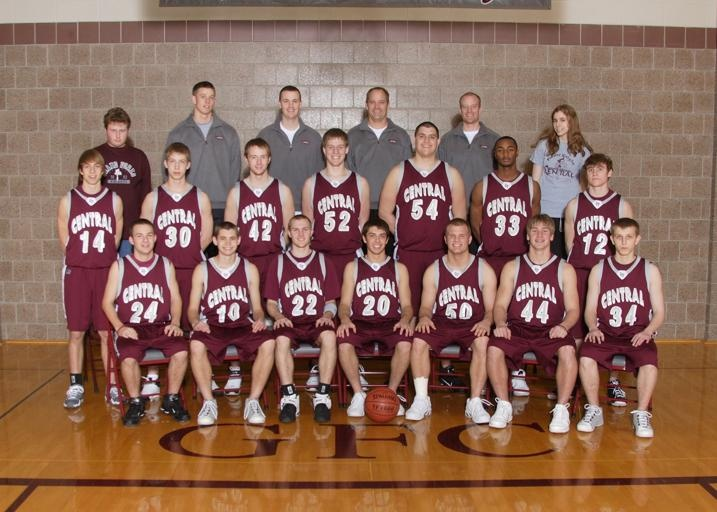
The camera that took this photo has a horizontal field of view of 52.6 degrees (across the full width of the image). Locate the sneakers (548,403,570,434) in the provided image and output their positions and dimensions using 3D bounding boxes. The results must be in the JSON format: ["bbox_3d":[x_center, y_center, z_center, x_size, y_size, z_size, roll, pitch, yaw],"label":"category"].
[{"bbox_3d":[1.661,1.309,5.939,0.158,0.212,0.301,4,7,18],"label":"sneakers"}]

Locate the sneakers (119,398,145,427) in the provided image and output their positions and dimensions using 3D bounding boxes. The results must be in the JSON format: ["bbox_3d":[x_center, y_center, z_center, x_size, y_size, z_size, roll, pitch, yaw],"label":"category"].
[{"bbox_3d":[-1.842,1.276,6.051,0.138,0.216,0.277,3,7,16],"label":"sneakers"}]

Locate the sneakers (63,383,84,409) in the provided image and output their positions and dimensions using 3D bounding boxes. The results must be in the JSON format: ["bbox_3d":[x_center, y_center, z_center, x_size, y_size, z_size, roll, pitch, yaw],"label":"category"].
[{"bbox_3d":[-2.494,1.242,6.383,0.100,0.121,0.287,0,-3,-10],"label":"sneakers"}]

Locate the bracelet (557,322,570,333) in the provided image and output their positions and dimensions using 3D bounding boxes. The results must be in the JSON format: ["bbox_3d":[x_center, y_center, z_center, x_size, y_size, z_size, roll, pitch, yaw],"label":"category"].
[{"bbox_3d":[1.718,0.604,6.048,0.072,0.056,0.093,4,7,19],"label":"bracelet"}]

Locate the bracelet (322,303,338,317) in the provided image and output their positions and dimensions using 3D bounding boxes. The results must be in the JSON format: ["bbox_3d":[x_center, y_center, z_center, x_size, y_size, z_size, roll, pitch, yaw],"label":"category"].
[{"bbox_3d":[-0.232,0.473,6.388,0.107,0.097,0.125,-3,2,-4],"label":"bracelet"}]

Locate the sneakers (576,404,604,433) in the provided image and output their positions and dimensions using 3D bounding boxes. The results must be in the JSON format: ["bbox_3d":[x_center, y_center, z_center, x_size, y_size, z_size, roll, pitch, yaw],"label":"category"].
[{"bbox_3d":[1.912,1.320,5.945,0.173,0.194,0.312,5,7,25],"label":"sneakers"}]

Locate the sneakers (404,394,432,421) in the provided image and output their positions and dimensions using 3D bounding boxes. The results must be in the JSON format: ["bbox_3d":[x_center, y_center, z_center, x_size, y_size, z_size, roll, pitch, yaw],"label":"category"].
[{"bbox_3d":[0.532,1.272,6.122,0.128,0.185,0.332,7,9,42],"label":"sneakers"}]

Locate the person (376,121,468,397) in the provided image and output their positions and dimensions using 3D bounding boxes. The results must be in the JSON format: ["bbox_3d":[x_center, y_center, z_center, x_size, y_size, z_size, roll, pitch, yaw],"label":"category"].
[{"bbox_3d":[0.603,0.033,6.917,0.904,2.494,0.792,2,8,6],"label":"person"}]

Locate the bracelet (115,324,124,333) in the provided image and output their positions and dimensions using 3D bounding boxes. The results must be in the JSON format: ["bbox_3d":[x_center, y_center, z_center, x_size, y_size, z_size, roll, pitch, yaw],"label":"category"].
[{"bbox_3d":[-1.997,0.607,6.090,0.065,0.049,0.059,2,-8,-1],"label":"bracelet"}]

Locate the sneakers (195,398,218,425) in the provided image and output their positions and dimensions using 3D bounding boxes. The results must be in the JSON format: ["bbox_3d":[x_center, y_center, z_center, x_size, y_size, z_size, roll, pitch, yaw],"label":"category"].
[{"bbox_3d":[-1.245,1.295,6.031,0.165,0.190,0.197,0,7,-11],"label":"sneakers"}]

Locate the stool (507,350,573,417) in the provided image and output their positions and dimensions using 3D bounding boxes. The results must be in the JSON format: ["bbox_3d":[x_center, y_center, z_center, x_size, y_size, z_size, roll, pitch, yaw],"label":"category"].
[{"bbox_3d":[1.549,1.055,6.400,0.587,0.669,0.736,-1,-12,10],"label":"stool"}]

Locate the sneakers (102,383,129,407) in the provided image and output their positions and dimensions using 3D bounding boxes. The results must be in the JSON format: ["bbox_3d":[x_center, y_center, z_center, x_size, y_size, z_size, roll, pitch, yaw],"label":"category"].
[{"bbox_3d":[-2.122,1.222,6.332,0.151,0.167,0.432,3,-10,-21],"label":"sneakers"}]

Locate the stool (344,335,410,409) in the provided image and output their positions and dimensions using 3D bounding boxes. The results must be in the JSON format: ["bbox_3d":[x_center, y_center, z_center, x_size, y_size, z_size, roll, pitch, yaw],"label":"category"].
[{"bbox_3d":[0.151,0.964,6.146,0.455,0.541,0.516,1,-27,3],"label":"stool"}]

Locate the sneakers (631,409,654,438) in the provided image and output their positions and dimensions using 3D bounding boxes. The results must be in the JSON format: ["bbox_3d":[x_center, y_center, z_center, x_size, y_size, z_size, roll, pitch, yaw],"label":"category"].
[{"bbox_3d":[2.298,1.345,5.826,0.163,0.184,0.187,4,7,20],"label":"sneakers"}]

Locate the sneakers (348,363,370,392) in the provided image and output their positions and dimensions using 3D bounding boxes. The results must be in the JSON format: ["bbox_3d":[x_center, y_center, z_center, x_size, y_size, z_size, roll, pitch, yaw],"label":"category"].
[{"bbox_3d":[0.002,1.095,6.425,0.126,0.140,0.365,-1,4,2],"label":"sneakers"}]

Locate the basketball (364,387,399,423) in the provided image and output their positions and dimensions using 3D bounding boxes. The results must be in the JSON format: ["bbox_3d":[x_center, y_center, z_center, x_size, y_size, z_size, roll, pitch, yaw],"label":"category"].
[{"bbox_3d":[0.195,1.209,5.914,0.288,0.265,0.273,0,-2,-12],"label":"basketball"}]

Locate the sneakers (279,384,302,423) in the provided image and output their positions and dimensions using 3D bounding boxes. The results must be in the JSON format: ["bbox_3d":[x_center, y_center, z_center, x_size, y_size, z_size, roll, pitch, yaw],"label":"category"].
[{"bbox_3d":[-0.570,1.231,6.072,0.161,0.283,0.200,1,6,-4],"label":"sneakers"}]

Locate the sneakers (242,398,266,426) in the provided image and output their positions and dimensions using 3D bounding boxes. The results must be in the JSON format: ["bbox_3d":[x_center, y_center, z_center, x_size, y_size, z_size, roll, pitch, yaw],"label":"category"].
[{"bbox_3d":[-0.860,1.291,6.067,0.180,0.180,0.251,0,7,-9],"label":"sneakers"}]

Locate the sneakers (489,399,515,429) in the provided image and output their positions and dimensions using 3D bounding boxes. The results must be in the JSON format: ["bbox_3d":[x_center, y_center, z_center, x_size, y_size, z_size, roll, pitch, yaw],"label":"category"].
[{"bbox_3d":[1.198,1.290,6.034,0.174,0.213,0.318,3,7,15],"label":"sneakers"}]

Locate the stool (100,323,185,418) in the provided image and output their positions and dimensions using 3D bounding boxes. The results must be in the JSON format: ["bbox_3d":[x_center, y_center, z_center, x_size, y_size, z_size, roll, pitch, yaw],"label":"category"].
[{"bbox_3d":[-1.798,0.747,6.241,0.629,1.110,0.996,-3,6,-19],"label":"stool"}]

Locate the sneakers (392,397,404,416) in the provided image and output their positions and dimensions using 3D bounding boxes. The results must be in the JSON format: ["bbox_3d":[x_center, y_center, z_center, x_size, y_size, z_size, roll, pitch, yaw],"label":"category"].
[{"bbox_3d":[0.354,1.282,6.127,0.104,0.070,0.173,1,0,1],"label":"sneakers"}]

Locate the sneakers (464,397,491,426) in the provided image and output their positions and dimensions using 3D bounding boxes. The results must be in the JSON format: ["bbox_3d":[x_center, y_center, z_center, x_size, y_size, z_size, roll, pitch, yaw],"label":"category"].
[{"bbox_3d":[1.002,1.283,6.052,0.137,0.202,0.251,-1,7,-21],"label":"sneakers"}]

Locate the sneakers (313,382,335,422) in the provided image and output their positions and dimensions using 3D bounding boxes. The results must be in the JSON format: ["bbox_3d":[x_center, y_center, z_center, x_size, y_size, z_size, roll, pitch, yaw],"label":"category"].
[{"bbox_3d":[-0.292,1.221,6.135,0.159,0.289,0.307,1,6,-3],"label":"sneakers"}]

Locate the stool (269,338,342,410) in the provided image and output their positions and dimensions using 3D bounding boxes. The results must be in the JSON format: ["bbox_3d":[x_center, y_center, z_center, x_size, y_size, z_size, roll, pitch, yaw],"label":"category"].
[{"bbox_3d":[-0.379,1.118,6.843,0.533,0.682,1.594,-6,-2,-13],"label":"stool"}]
